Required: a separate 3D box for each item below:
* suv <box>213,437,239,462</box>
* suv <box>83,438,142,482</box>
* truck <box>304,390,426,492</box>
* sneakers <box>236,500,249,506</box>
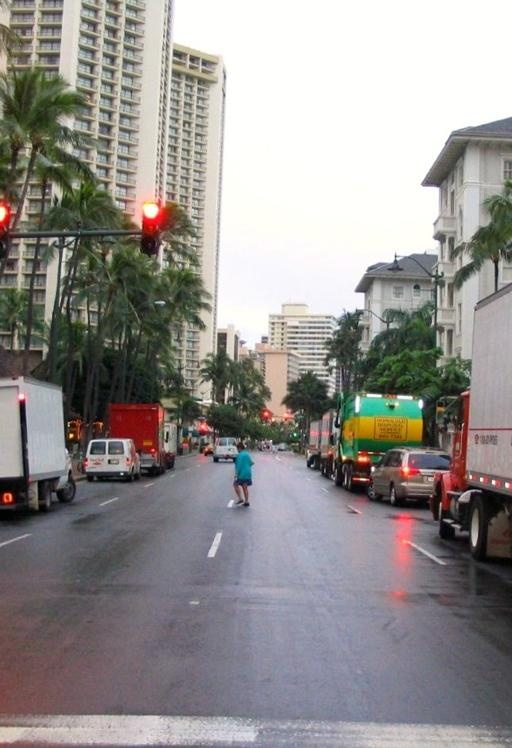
[{"bbox_3d":[-2.528,6.241,58.559,1.338,1.636,2.866,1,-5,-1],"label":"suv"},{"bbox_3d":[-6.343,3.818,31.684,1.280,1.559,2.656,0,0,1],"label":"suv"},{"bbox_3d":[4.797,3.139,31.497,2.841,4.059,9.489,3,-6,-6],"label":"truck"},{"bbox_3d":[-0.379,3.591,19.400,0.385,0.225,0.158,6,-3,30],"label":"sneakers"}]
